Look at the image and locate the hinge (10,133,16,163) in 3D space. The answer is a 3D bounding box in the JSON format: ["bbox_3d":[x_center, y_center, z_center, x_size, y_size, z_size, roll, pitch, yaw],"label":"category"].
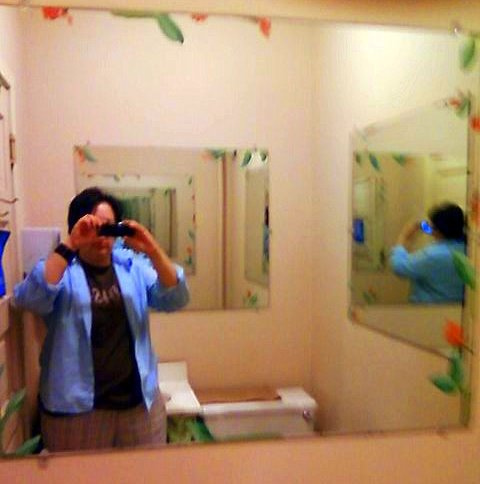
[{"bbox_3d":[-0.425,-0.176,0.972,0.014,0.051,0.004,1,6,27],"label":"hinge"}]

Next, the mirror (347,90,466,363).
[{"bbox_3d":[0.361,-0.026,1.099,0.286,0.580,0.059,-3,6,-16],"label":"mirror"}]

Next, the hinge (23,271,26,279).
[{"bbox_3d":[-0.409,0.062,0.985,0.005,0.012,0.003,1,6,24],"label":"hinge"}]

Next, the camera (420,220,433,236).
[{"bbox_3d":[0.396,-0.031,1.100,0.017,0.038,0.014,-11,-1,-10],"label":"camera"}]

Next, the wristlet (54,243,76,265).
[{"bbox_3d":[-0.326,0.020,0.968,0.036,0.028,0.036,30,-14,2],"label":"wristlet"}]

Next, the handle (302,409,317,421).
[{"bbox_3d":[0.138,0.346,1.037,0.018,0.024,0.010,-40,10,27],"label":"handle"}]
